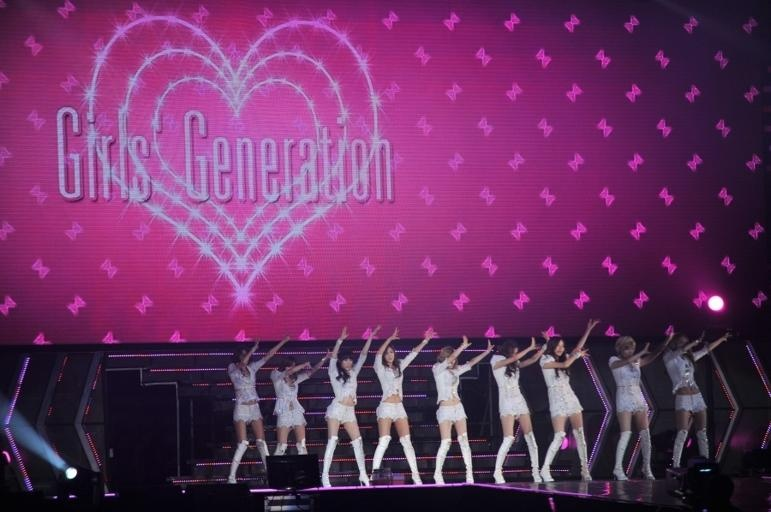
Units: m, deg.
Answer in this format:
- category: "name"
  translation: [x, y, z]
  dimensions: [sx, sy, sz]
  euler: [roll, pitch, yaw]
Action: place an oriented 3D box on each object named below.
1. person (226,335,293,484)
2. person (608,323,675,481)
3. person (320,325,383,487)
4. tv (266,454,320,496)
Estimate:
- category: "person"
  translation: [-2.129, 2.494, 15.403]
  dimensions: [0.900, 2.384, 0.965]
  euler: [-2, -24, 1]
- category: "person"
  translation: [4.215, 2.469, 15.592]
  dimensions: [1.116, 2.608, 1.177]
  euler: [-8, -24, 15]
- category: "person"
  translation: [-0.554, 2.451, 15.442]
  dimensions: [0.972, 2.777, 1.250]
  euler: [0, -24, -2]
- category: "tv"
  translation: [-1.436, 3.209, 13.783]
  dimensions: [0.928, 0.581, 0.501]
  euler: [5, -17, -22]
